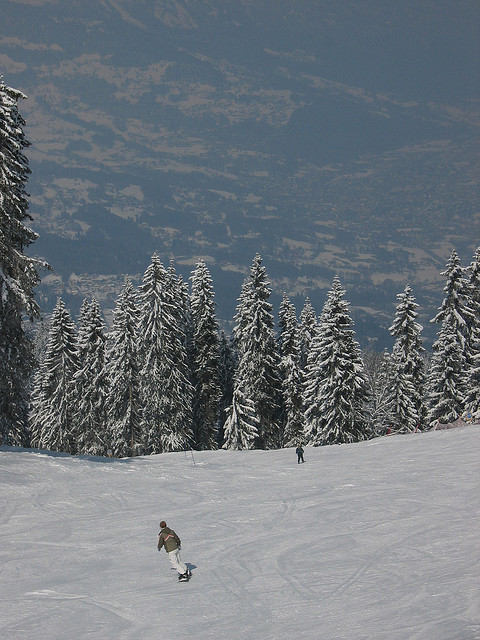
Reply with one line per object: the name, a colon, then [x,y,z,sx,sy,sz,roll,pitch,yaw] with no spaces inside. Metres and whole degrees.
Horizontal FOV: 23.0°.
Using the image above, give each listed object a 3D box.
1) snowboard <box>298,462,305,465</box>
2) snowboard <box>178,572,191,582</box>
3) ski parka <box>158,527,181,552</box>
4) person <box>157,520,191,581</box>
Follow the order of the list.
snowboard: [2.397,5.613,45.950,0.147,0.074,0.549,-1,8,11]
snowboard: [-1.378,6.790,30.985,0.430,0.102,0.173,-10,11,-43]
ski parka: [-1.847,5.740,30.662,0.589,0.589,0.473,-6,8,-22]
person: [-1.716,6.048,30.807,1.081,1.589,0.469,-8,10,-37]
